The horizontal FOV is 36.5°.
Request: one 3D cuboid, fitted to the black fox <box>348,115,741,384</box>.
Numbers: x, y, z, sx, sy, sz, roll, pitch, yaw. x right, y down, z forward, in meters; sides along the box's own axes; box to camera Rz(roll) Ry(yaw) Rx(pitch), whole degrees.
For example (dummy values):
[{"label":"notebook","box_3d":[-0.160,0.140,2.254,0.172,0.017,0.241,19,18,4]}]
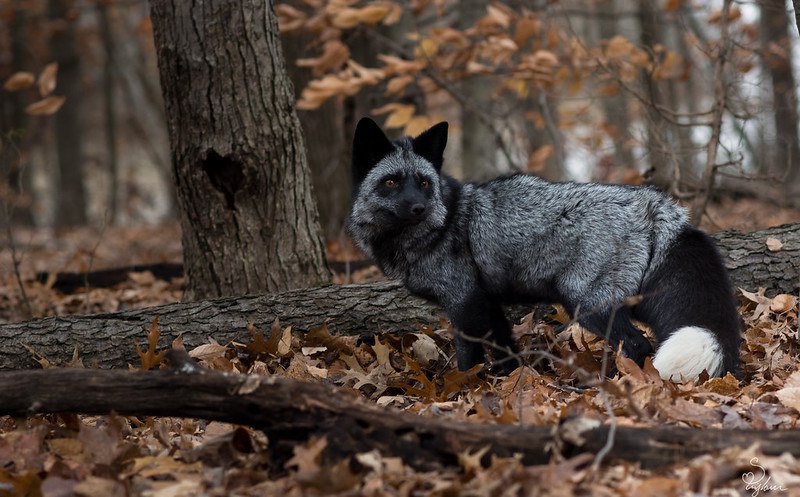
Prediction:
[{"label":"black fox","box_3d":[2.958,0.024,17.142,5.172,3.965,3.828,-1,4,43]}]
